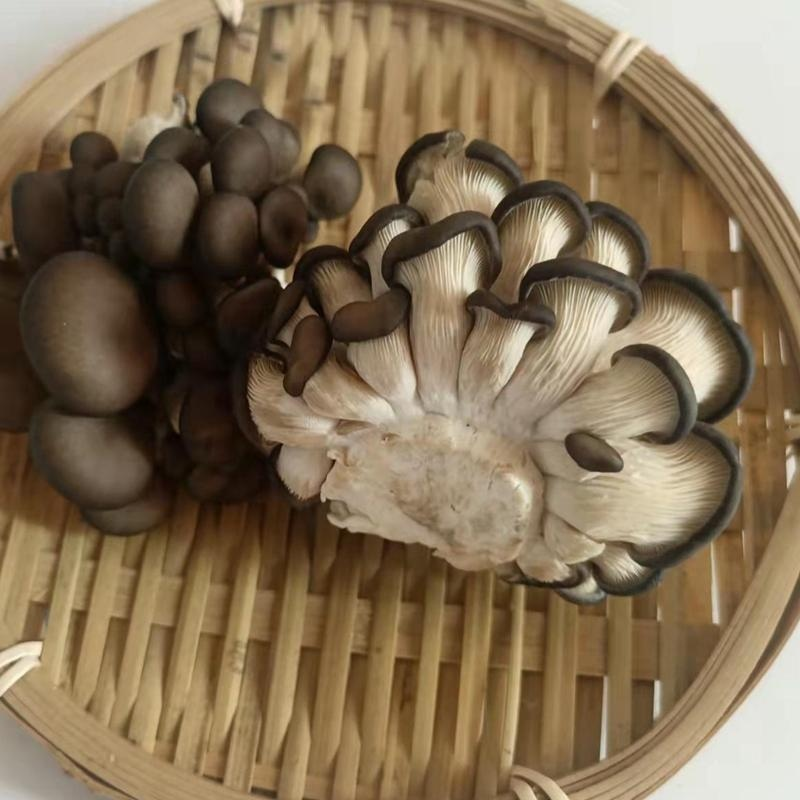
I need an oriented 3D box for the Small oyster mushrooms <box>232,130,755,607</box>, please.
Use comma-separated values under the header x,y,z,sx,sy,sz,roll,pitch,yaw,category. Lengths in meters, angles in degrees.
x,y,z,sx,sy,sz,roll,pitch,yaw,category
0.185,-0.004,2.319,0.861,0.609,0.637,29,70,7,Small oyster mushrooms
